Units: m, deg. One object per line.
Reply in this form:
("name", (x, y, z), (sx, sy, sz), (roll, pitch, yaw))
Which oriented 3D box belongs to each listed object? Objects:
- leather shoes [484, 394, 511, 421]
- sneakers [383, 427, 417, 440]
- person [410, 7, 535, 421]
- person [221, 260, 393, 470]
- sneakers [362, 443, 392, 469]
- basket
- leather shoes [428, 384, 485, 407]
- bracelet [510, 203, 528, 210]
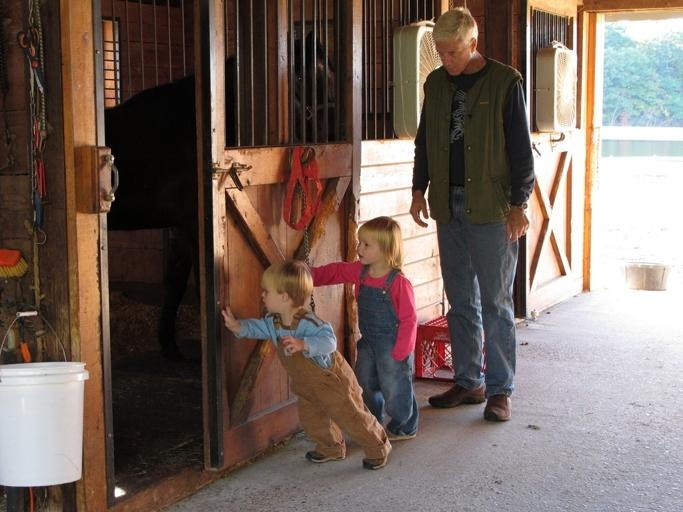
("leather shoes", (0.841, 0.814, 3.685), (0.149, 0.108, 0.156), (1, 9, 7))
("sneakers", (0.294, 0.888, 3.452), (0.159, 0.086, 0.064), (3, 1, -12))
("person", (0.696, -0.205, 3.713), (0.636, 2.135, 0.522), (1, 7, 5))
("person", (-0.124, 0.538, 3.069), (0.749, 1.062, 0.553), (-4, 10, -14))
("sneakers", (0.165, 0.918, 3.186), (0.059, 0.085, 0.176), (1, -1, 22))
("basket", (0.644, 0.619, 4.392), (0.406, 0.356, 0.407), (4, -3, -42))
("leather shoes", (0.662, 0.795, 3.977), (0.335, 0.167, 0.130), (-1, -1, -18))
("bracelet", (0.940, -0.261, 3.601), (0.054, 0.028, 0.044), (-5, 6, 19))
